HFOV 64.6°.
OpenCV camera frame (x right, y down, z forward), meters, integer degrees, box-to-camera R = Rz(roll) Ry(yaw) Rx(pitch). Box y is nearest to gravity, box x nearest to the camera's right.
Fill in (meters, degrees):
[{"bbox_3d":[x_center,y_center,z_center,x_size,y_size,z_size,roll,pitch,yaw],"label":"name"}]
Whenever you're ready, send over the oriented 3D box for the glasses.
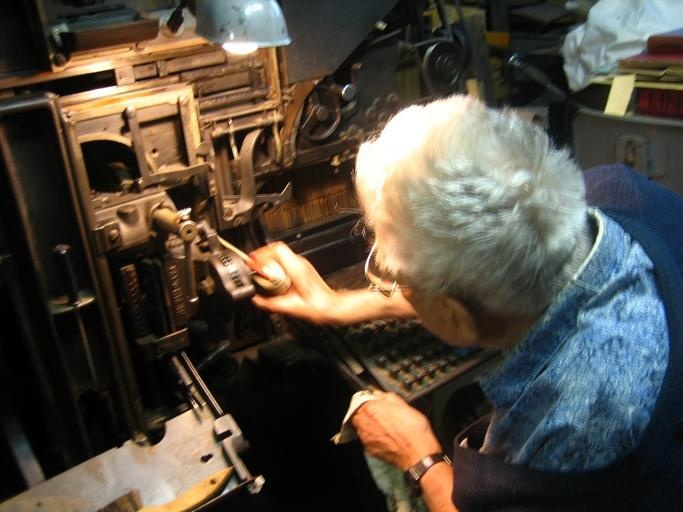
[{"bbox_3d":[0.149,0.081,1.822,0.152,0.063,0.178,13,45,-41],"label":"glasses"}]
